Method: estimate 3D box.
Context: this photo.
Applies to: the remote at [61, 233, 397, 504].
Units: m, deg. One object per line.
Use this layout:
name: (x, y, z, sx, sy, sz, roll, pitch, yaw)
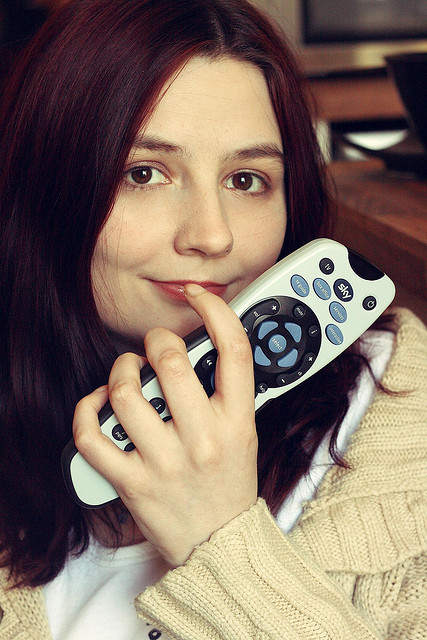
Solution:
remote: (0.045, 0.023, 0.438, 0.279, 0.040, 0.083, -36, 76, -31)
